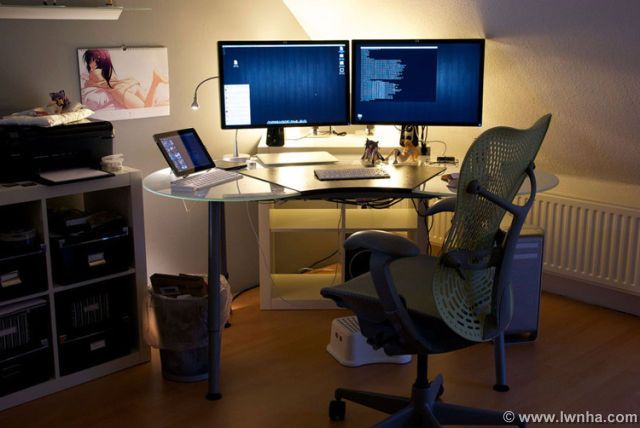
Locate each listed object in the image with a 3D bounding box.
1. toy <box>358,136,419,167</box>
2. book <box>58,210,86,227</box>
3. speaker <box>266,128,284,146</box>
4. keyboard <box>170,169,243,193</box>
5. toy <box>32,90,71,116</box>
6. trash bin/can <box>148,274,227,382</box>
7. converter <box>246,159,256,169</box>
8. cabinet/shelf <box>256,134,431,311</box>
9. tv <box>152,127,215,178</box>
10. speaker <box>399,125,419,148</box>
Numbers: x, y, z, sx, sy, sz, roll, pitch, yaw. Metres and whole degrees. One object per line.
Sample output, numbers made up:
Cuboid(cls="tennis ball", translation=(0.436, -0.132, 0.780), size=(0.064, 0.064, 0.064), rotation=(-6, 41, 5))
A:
Cuboid(cls="toy", translation=(0.364, -0.387, 3.039), size=(0.482, 0.183, 0.146), rotation=(2, 26, 2))
Cuboid(cls="book", translation=(-1.330, 0.017, 2.568), size=(0.102, 0.024, 0.105), rotation=(19, 26, 31))
Cuboid(cls="speaker", translation=(-0.297, -0.522, 3.232), size=(0.114, 0.116, 0.202), rotation=(4, 9, -3))
Cuboid(cls="keyboard", translation=(-0.599, -0.177, 2.521), size=(0.139, 0.037, 0.249), rotation=(14, 24, 32))
Cuboid(cls="toy", translation=(-1.421, -0.597, 2.581), size=(0.158, 0.104, 0.236), rotation=(-8, 19, -14))
Cuboid(cls="trash bin/can", translation=(-0.760, 0.648, 2.827), size=(0.493, 0.516, 0.459), rotation=(-7, 15, -38))
Cuboid(cls="converter", translation=(-0.405, -0.294, 2.833), size=(0.051, 0.049, 0.051), rotation=(-6, 32, -10))
Cuboid(cls="cabinet/shelf", translation=(0.134, 0.007, 2.870), size=(1.165, 1.110, 0.416), rotation=(-1, 12, -3))
Cuboid(cls="tv", translation=(-0.724, -0.342, 2.629), size=(0.137, 0.222, 0.305), rotation=(7, 19, 26))
Cuboid(cls="speaker", translation=(0.599, -0.511, 3.220), size=(0.103, 0.142, 0.050), rotation=(1, -5, 12))
